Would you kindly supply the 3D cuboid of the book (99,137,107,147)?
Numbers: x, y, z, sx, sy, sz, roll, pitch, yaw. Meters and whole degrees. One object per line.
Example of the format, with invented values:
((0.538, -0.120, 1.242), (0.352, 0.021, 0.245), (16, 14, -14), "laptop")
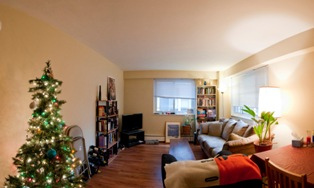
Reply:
((-1.557, 1.368, 5.958), (0.224, 0.287, 0.080), (-3, -4, 19), "book")

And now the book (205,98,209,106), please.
((1.847, 0.300, 7.711), (0.144, 0.274, 0.055), (-2, -4, 4), "book")

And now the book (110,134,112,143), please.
((-1.369, 1.323, 6.239), (0.027, 0.265, 0.127), (-2, -4, 8), "book")

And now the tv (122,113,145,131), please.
((-0.867, 1.026, 7.350), (0.253, 0.599, 0.906), (-2, -1, 45), "tv")

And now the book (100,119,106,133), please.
((-1.541, 0.918, 5.986), (0.156, 0.331, 0.085), (-1, -4, -16), "book")

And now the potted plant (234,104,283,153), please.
((2.440, 0.950, 5.071), (0.929, 1.227, 0.949), (4, -2, -34), "potted plant")

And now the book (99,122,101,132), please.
((-1.626, 0.938, 5.969), (0.057, 0.271, 0.030), (-1, -4, -8), "book")

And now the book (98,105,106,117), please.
((-1.574, 0.502, 5.991), (0.218, 0.307, 0.143), (-1, -4, -15), "book")

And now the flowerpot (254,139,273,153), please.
((2.459, 1.189, 4.873), (0.325, 0.223, 0.309), (1, -3, 2), "flowerpot")
